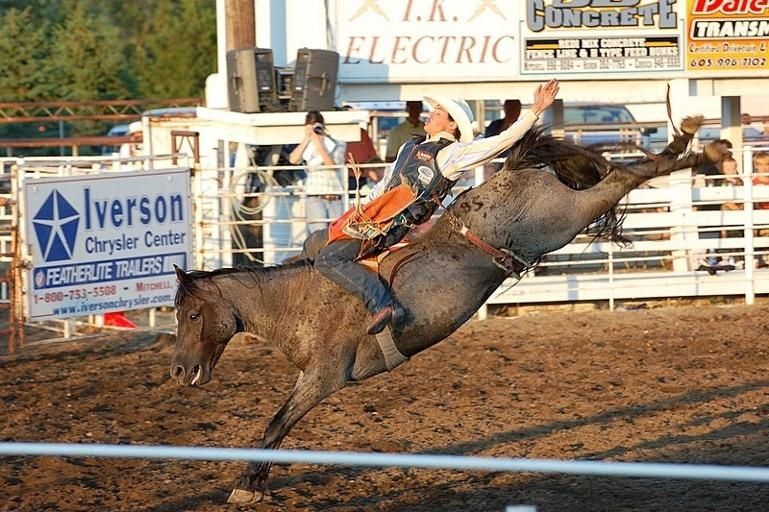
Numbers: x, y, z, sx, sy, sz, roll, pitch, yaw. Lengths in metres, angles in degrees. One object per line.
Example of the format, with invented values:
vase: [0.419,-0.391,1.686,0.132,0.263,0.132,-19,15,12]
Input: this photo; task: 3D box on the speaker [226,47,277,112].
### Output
speaker: [-1.907,-2.545,19.796,0.737,0.917,0.541,-1,5,4]

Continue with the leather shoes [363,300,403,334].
leather shoes: [0.035,0.665,14.567,0.467,0.244,0.157,-29,52,-10]

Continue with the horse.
horse: [0.650,0.751,16.314,6.880,2.633,1.231,-31,19,7]

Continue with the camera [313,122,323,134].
camera: [-0.918,-1.809,19.133,0.168,0.148,0.171,-30,12,0]

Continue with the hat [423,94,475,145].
hat: [0.752,-1.539,14.898,0.613,0.483,0.217,36,67,27]
